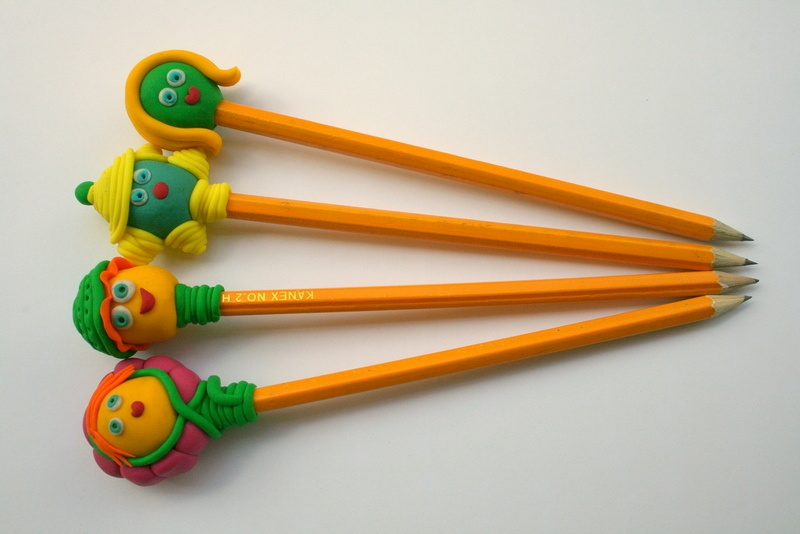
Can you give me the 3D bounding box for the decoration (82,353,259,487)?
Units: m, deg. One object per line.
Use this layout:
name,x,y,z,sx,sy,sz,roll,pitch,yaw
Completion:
decoration,-0.560,0.363,1.909,0.438,0.162,0.324,-10,-108,0

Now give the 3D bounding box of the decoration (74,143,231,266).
decoration,-0.600,-0.161,1.891,0.349,0.128,0.289,9,-94,-10

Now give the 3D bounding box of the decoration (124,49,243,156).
decoration,-0.568,-0.421,1.928,0.261,0.082,0.253,16,-80,-9

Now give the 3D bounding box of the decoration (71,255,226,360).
decoration,-0.628,0.107,1.923,0.369,0.269,0.218,-2,-69,-14
